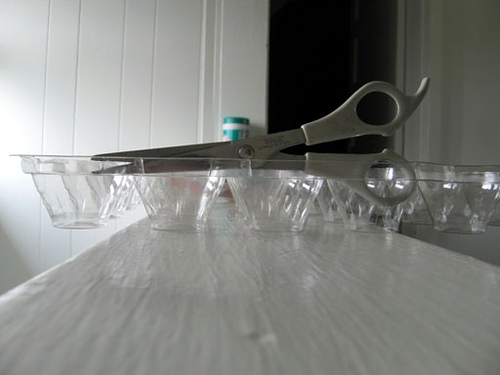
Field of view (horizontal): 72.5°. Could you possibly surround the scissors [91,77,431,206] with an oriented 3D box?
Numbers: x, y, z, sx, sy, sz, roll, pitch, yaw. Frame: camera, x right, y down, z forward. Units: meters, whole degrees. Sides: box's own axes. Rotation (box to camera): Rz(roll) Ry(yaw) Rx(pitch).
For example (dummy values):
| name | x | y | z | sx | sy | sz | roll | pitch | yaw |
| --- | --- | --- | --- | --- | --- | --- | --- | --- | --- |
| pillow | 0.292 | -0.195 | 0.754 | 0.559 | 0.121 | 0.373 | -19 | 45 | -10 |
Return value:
| name | x | y | z | sx | sy | sz | roll | pitch | yaw |
| --- | --- | --- | --- | --- | --- | --- | --- | --- | --- |
| scissors | 0.040 | -0.031 | 0.443 | 0.416 | 0.205 | 0.056 | 0 | -29 | 7 |
